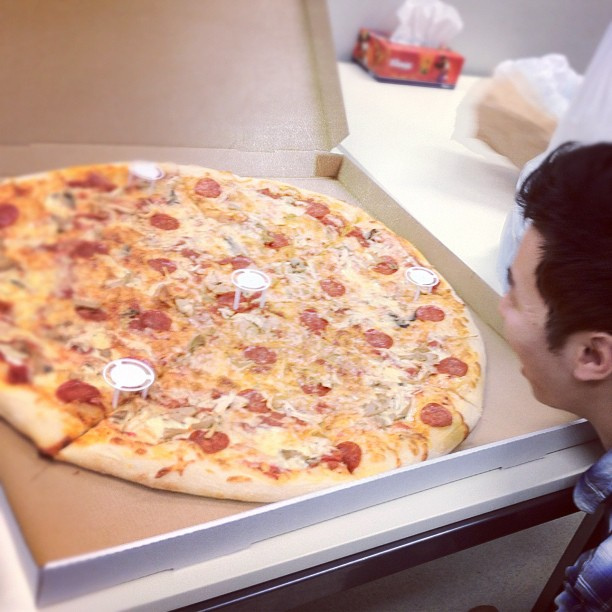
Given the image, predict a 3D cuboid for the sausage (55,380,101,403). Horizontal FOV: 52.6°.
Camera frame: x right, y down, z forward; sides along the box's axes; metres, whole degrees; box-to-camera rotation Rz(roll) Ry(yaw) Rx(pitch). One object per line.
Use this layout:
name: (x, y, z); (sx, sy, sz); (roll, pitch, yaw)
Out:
sausage: (-0.274, 0.101, 0.744); (0.005, 0.025, 0.060); (11, 0, 42)

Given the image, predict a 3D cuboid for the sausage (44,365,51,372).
sausage: (-0.285, 0.068, 0.685); (0.009, 0.002, 0.006); (10, 61, -13)

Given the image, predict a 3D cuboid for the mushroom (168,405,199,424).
mushroom: (-0.160, 0.138, 0.809); (0.027, 0.016, 0.036); (25, 46, 24)

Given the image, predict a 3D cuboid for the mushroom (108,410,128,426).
mushroom: (-0.237, 0.142, 0.787); (0.027, 0.014, 0.015); (-20, 48, -21)

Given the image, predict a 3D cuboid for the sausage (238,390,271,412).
sausage: (-0.073, 0.133, 0.874); (0.040, 0.004, 0.032); (1, 40, -23)

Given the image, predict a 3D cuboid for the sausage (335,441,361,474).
sausage: (0.048, 0.205, 0.861); (0.046, 0.006, 0.055); (2, 36, -3)

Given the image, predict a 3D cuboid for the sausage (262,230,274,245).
sausage: (-0.074, -0.131, 1.188); (0.032, 0.008, 0.023); (24, 51, -31)

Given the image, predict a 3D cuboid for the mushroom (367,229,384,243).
mushroom: (0.138, -0.140, 1.237); (0.036, 0.008, 0.029); (-28, 52, -14)

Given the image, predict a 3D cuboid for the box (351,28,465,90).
box: (0.172, -0.413, 1.058); (0.170, 0.045, 0.120); (7, 26, -8)

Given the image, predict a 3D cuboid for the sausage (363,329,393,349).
sausage: (0.122, 0.057, 1.073); (0.046, 0.004, 0.035); (24, 33, 25)

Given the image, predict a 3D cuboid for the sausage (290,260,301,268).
sausage: (-0.022, -0.081, 1.177); (0.019, 0.004, 0.016); (-22, 56, -33)

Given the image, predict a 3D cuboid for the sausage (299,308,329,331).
sausage: (0.011, 0.023, 1.064); (0.041, 0.005, 0.044); (-8, 40, -28)

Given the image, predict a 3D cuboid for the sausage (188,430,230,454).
sausage: (-0.127, 0.178, 0.814); (0.045, 0.005, 0.036); (25, 34, 19)

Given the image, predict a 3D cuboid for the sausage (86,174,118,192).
sausage: (-0.247, -0.148, 0.746); (0.024, 0.006, 0.027); (36, 38, 21)

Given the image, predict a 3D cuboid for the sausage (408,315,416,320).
sausage: (0.195, 0.021, 1.148); (0.012, 0.002, 0.009); (8, 36, 8)

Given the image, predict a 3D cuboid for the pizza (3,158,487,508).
pizza: (-0.057, 0.097, 0.909); (0.709, 0.047, 0.617); (5, 27, -25)

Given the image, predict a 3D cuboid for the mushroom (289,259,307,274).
mushroom: (-0.015, -0.075, 1.173); (0.038, 0.009, 0.029); (20, 34, -10)

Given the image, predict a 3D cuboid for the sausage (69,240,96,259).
sausage: (-0.258, -0.066, 0.723); (0.029, 0.004, 0.021); (20, 46, -3)
